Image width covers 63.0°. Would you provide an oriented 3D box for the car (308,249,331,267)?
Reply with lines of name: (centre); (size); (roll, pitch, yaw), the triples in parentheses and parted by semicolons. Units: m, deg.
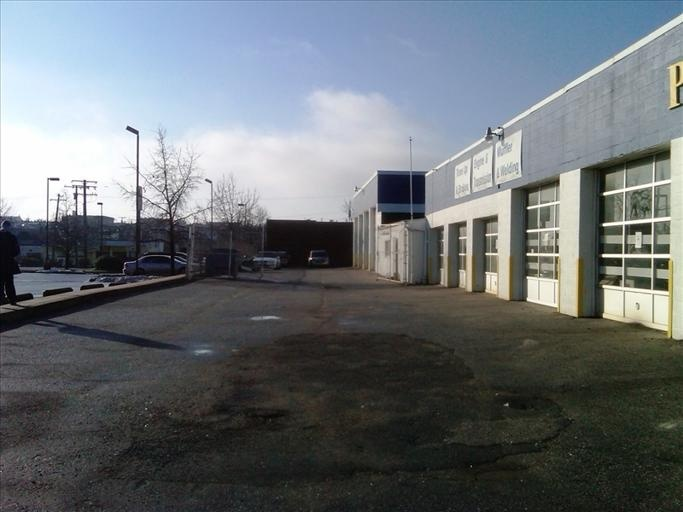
car: (-2.238, 0.407, 57.386); (1.763, 1.739, 2.641); (0, 10, 4)
